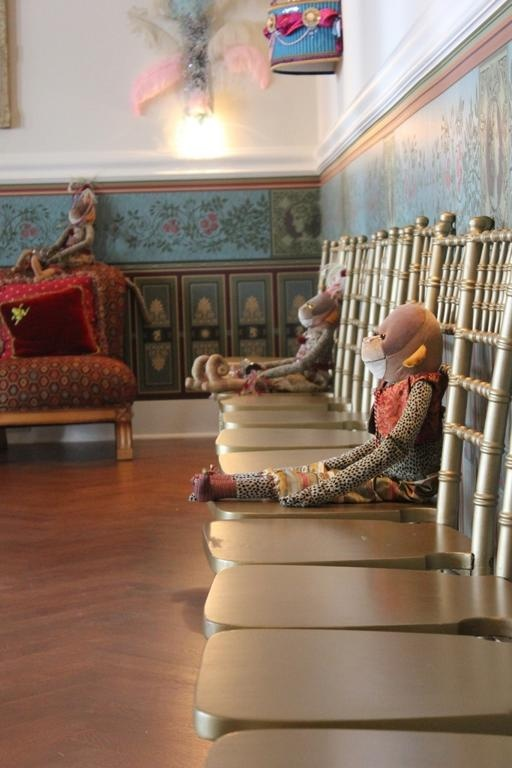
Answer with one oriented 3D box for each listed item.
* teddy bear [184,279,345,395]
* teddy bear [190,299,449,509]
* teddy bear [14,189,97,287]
[{"bbox_3d":[0.037,-0.205,3.092,0.771,0.461,0.390,-1,8,3],"label":"teddy bear"},{"bbox_3d":[0.150,0.061,1.539,0.608,0.440,0.303,-3,4,4],"label":"teddy bear"},{"bbox_3d":[-1.370,-1.054,4.441,0.587,0.633,0.453,-11,29,-35],"label":"teddy bear"}]
